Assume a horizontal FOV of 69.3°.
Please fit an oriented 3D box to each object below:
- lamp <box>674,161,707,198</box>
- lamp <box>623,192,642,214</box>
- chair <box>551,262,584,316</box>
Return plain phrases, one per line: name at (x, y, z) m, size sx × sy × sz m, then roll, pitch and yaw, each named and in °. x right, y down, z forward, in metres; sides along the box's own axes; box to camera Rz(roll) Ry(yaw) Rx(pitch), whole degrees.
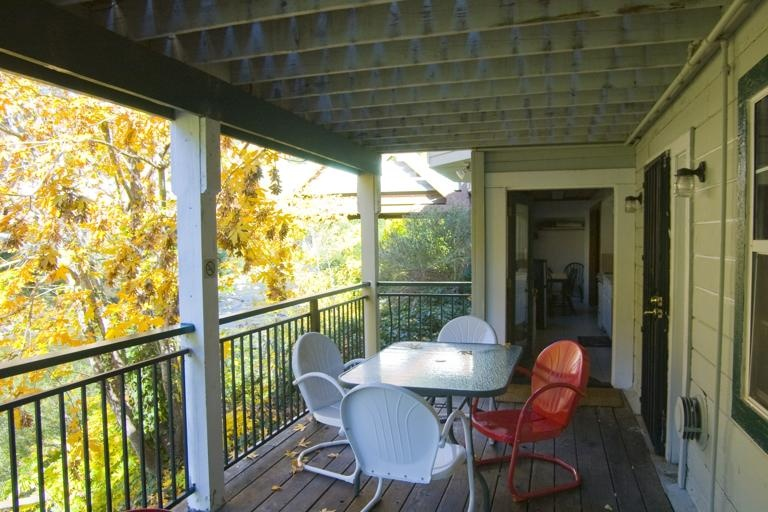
lamp at (2.409, -0.611, 4.393) m, size 0.191 × 0.265 × 0.243 m, roll 1°, pitch 2°, yaw 15°
lamp at (2.791, -0.607, 6.222) m, size 0.159 × 0.226 × 0.602 m, roll 1°, pitch 2°, yaw 25°
chair at (4.184, 0.783, 12.611) m, size 0.884 × 1.571 × 1.008 m, roll -1°, pitch -6°, yaw 14°
